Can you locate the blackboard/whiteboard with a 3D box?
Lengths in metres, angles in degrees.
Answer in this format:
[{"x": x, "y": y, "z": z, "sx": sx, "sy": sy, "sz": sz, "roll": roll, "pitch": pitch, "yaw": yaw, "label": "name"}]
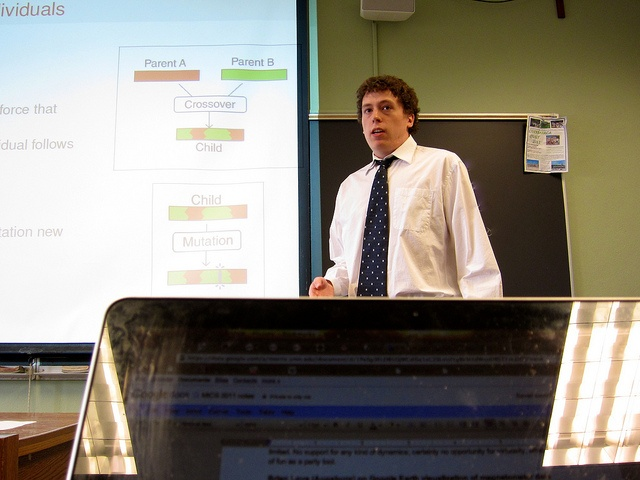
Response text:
[{"x": 0.559, "y": -0.148, "z": 3.958, "sx": 0.805, "sy": 0.970, "sz": 0.032, "roll": 0, "pitch": -8, "yaw": -1, "label": "blackboard/whiteboard"}]
